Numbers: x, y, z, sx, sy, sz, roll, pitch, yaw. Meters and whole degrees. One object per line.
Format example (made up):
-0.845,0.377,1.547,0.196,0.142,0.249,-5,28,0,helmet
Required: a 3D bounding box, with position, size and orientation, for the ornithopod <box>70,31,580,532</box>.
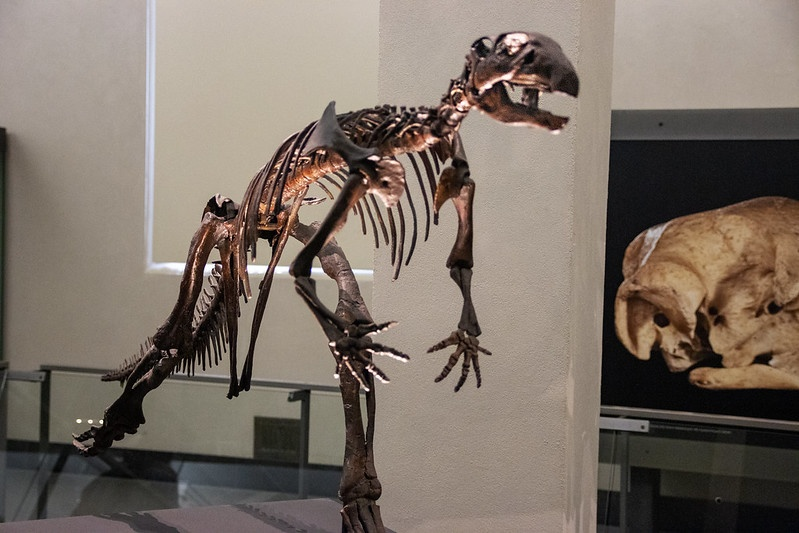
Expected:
-0.377,0.129,7.162,2.839,2.829,0.911,-5,-13,38,ornithopod
